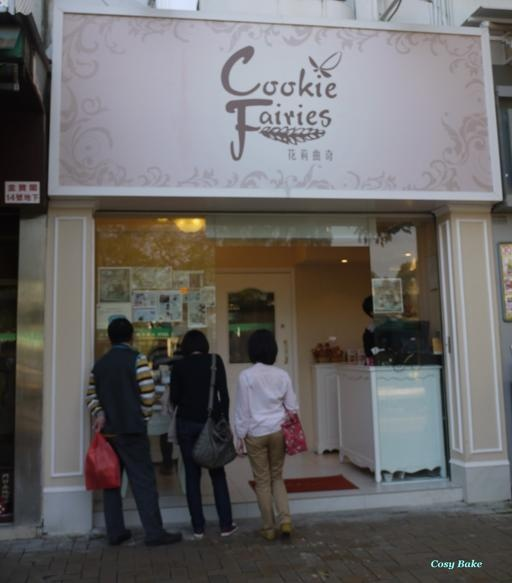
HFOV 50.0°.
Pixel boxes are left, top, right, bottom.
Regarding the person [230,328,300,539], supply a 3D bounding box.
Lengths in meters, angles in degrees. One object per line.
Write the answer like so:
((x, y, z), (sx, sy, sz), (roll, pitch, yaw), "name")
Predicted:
((0.081, 1.036, 4.058), (0.453, 1.502, 0.319), (-1, -3, 3), "person")

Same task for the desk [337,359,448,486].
((1.334, 1.277, 5.676), (0.666, 1.102, 1.234), (0, -6, -9), "desk")

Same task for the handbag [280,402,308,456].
((0.260, 0.990, 3.986), (0.146, 0.369, 0.096), (-17, 8, -3), "handbag")

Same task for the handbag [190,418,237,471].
((-0.276, 1.080, 3.936), (0.313, 0.346, 0.176), (-8, 10, -27), "handbag")

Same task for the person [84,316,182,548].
((-0.888, 0.992, 3.979), (0.693, 1.604, 0.311), (0, -3, -7), "person")

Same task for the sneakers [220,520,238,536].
((-0.197, 1.744, 4.076), (0.055, 0.073, 0.159), (3, 5, 22), "sneakers")

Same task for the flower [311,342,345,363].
((0.923, 0.760, 7.319), (0.296, 0.175, 0.317), (3, -5, -7), "flower")

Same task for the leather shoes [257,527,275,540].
((0.074, 1.731, 3.950), (0.139, 0.083, 0.063), (-3, -3, 44), "leather shoes")
